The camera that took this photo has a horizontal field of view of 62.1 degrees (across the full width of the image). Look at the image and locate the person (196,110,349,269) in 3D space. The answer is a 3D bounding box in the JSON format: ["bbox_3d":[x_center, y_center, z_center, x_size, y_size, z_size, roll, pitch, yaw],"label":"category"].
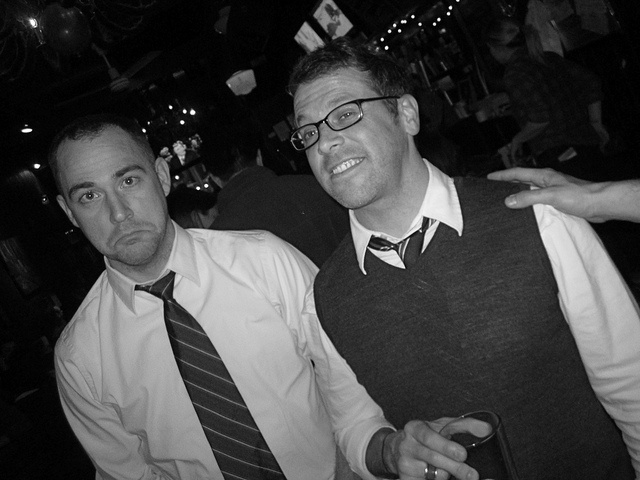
[{"bbox_3d":[-0.330,-0.554,3.798,0.609,1.263,0.880,15,11,-13],"label":"person"}]
